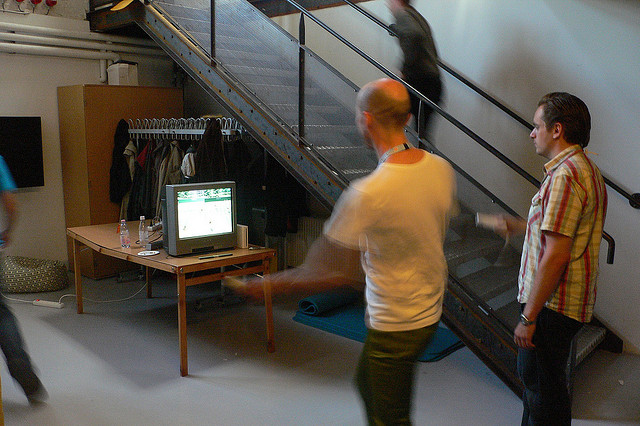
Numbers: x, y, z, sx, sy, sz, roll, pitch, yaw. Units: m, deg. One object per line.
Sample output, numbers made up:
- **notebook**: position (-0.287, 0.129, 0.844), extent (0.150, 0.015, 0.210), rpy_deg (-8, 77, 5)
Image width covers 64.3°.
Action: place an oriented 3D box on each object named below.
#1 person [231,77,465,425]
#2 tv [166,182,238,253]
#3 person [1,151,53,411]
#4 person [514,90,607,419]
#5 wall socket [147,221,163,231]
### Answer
- **person**: position (0.359, 0.244, 3.234), extent (0.956, 2.139, 0.470), rpy_deg (2, 12, 13)
- **tv**: position (-1.286, 0.026, 5.461), extent (0.726, 0.702, 0.430), rpy_deg (-6, 6, -33)
- **person**: position (-2.901, 0.554, 4.798), extent (0.319, 2.196, 1.376), rpy_deg (-8, 14, -33)
- **person**: position (1.685, 0.348, 3.596), extent (0.521, 2.335, 0.466), rpy_deg (4, 12, 20)
- **wall socket**: position (-1.900, 0.160, 5.866), extent (0.149, 0.048, 0.155), rpy_deg (3, 6, 38)
